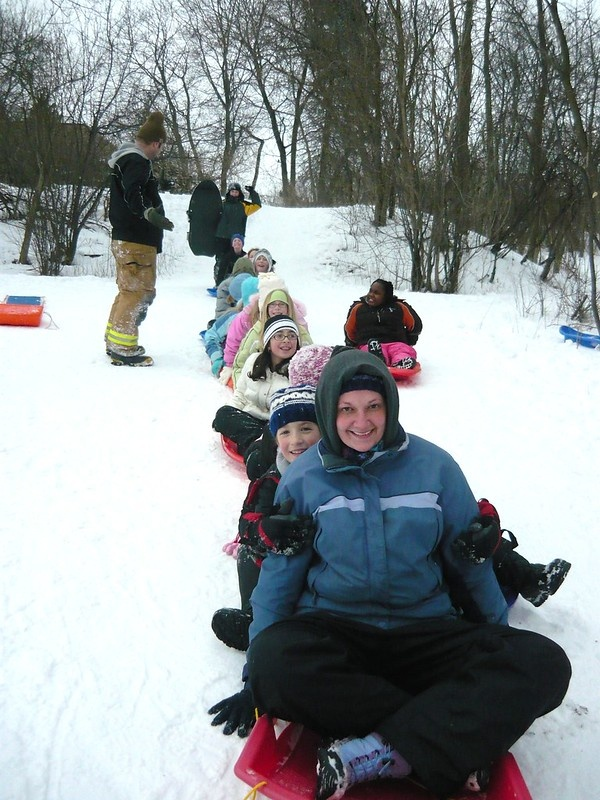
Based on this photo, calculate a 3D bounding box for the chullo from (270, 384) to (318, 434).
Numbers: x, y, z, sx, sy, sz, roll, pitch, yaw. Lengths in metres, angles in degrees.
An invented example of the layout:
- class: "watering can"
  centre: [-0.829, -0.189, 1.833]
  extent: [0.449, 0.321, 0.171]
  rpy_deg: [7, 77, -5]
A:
- class: "chullo"
  centre: [-0.033, 0.042, 2.536]
  extent: [0.182, 0.163, 0.139]
  rpy_deg: [-18, -11, 36]

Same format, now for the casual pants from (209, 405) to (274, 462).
- class: "casual pants"
  centre: [-0.309, 0.151, 3.486]
  extent: [0.287, 0.137, 0.236]
  rpy_deg: [22, 13, 40]

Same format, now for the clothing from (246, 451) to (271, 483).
- class: "clothing"
  centre: [-0.183, 0.281, 2.915]
  extent: [0.094, 0.135, 0.133]
  rpy_deg: [8, -34, -15]

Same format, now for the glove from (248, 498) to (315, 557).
- class: "glove"
  centre: [-0.063, 0.391, 1.967]
  extent: [0.169, 0.139, 0.047]
  rpy_deg: [10, -30, 0]

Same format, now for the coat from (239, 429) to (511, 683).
- class: "coat"
  centre: [0.190, 0.454, 1.918]
  extent: [0.684, 0.656, 0.307]
  rpy_deg: [0, -13, 2]

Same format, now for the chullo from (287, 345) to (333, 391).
- class: "chullo"
  centre: [0.043, -0.113, 2.705]
  extent: [0.142, 0.172, 0.177]
  rpy_deg: [8, -33, 9]

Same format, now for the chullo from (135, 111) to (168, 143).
- class: "chullo"
  centre: [-1.015, -1.846, 4.707]
  extent: [0.185, 0.231, 0.249]
  rpy_deg: [1, 13, -13]

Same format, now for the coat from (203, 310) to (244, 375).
- class: "coat"
  centre: [-0.626, -0.459, 5.297]
  extent: [0.158, 0.443, 0.424]
  rpy_deg: [37, 27, -1]

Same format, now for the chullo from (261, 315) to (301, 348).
- class: "chullo"
  centre: [-0.100, -0.351, 3.585]
  extent: [0.131, 0.141, 0.182]
  rpy_deg: [5, -32, -20]

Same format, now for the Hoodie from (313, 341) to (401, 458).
- class: "Hoodie"
  centre: [0.131, 0.017, 2.002]
  extent: [0.271, 0.397, 0.296]
  rpy_deg: [-2, -4, -6]

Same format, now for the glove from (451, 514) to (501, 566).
- class: "glove"
  centre: [0.496, 0.375, 1.941]
  extent: [0.059, 0.104, 0.144]
  rpy_deg: [22, 21, -10]

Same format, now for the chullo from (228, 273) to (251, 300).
- class: "chullo"
  centre: [-0.576, -1.015, 6.271]
  extent: [0.259, 0.267, 0.200]
  rpy_deg: [5, 16, 6]

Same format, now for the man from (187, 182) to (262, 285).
- class: "man"
  centre: [-0.933, -1.963, 8.365]
  extent: [0.893, 1.475, 0.418]
  rpy_deg: [4, -25, -9]

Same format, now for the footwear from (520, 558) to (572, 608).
- class: "footwear"
  centre: [0.840, 0.639, 2.378]
  extent: [0.093, 0.135, 0.043]
  rpy_deg: [24, 18, -31]

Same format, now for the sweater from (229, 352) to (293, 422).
- class: "sweater"
  centre: [-0.188, -0.053, 3.351]
  extent: [0.277, 0.263, 0.158]
  rpy_deg: [26, 20, 8]

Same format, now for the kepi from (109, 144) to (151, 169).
- class: "kepi"
  centre: [-1.173, -1.644, 4.676]
  extent: [0.291, 0.171, 0.248]
  rpy_deg: [4, 13, -2]
